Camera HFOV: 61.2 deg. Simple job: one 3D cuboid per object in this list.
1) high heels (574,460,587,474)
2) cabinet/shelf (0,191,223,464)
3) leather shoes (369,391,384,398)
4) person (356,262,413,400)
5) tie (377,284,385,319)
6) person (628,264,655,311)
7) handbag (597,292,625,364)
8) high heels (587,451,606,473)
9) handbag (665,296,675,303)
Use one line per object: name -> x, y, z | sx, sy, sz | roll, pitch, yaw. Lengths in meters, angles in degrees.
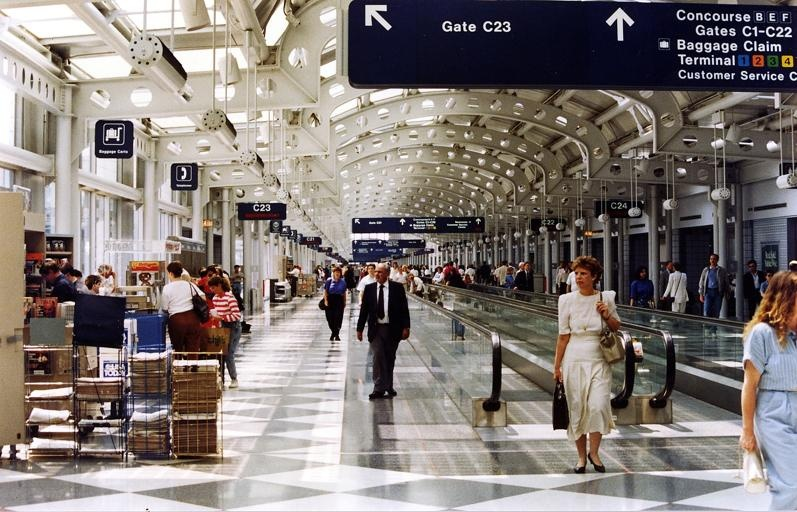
high heels -> 2.094, 2.410, 7.781 | 0.150, 0.120, 0.256 | 1, 5, 14
cabinet/shelf -> -4.540, 1.024, 10.510 | 4.274, 4.156, 2.384 | 1, 1, 2
leather shoes -> -0.345, 2.245, 10.883 | 0.265, 0.112, 0.093 | 3, -6, -12
person -> -0.256, 1.198, 11.002 | 0.827, 2.161, 0.558 | 0, 4, 0
tie -> -0.286, 0.749, 10.970 | 0.128, 0.563, 0.039 | 0, 4, -3
person -> 5.929, 0.791, 16.381 | 0.479, 1.067, 1.339 | 1, 5, 18
handbag -> 2.452, 0.971, 7.774 | 0.268, 0.565, 0.206 | 2, 5, 24
high heels -> 2.305, 2.364, 7.840 | 0.192, 0.188, 0.318 | 1, 5, 14
handbag -> 7.266, 1.144, 18.021 | 0.252, 0.124, 0.325 | -1, -19, -4
